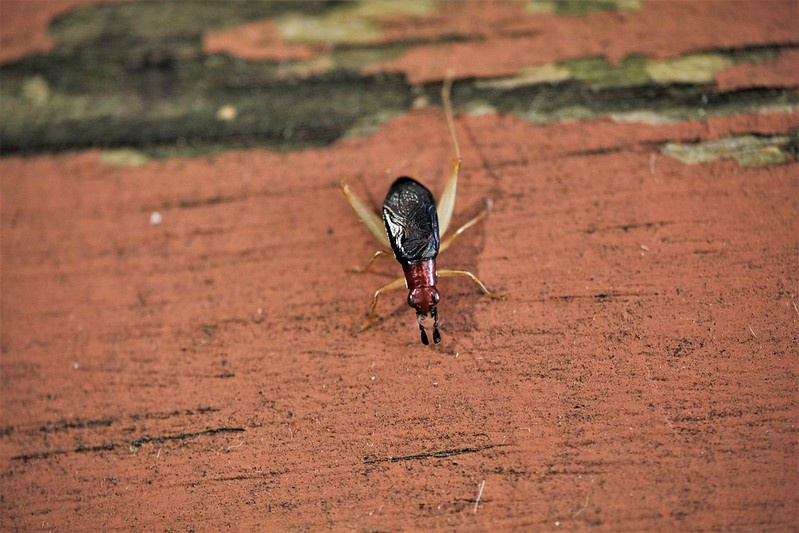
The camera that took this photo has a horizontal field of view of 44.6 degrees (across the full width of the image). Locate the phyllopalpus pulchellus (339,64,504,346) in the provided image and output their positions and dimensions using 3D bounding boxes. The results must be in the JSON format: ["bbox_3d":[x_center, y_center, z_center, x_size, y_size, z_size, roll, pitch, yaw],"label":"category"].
[{"bbox_3d":[0.209,-0.222,9.280,1.615,1.618,1.222,-20,31,-10],"label":"phyllopalpus pulchellus"}]
